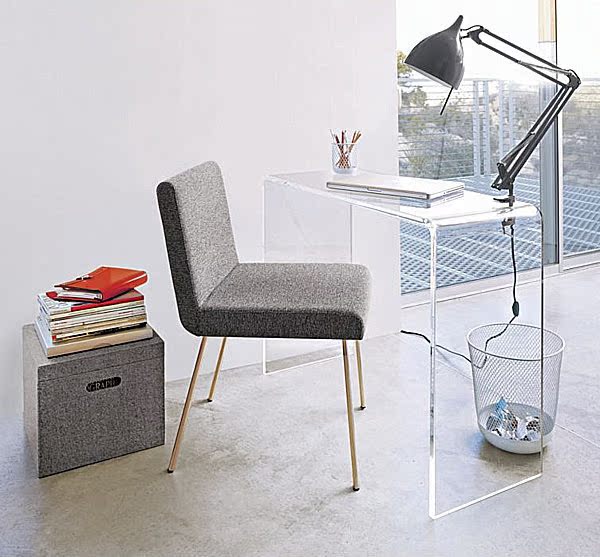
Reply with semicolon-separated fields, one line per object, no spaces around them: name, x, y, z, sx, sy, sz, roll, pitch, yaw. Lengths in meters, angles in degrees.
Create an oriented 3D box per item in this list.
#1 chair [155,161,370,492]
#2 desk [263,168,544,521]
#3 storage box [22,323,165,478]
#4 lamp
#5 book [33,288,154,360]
chair;-0.084;0.078;1.707;0.674;0.738;0.624;0;18;-15
desk;0.277;0.208;1.677;0.390;0.735;0.984;-5;12;-27
storage box;-0.628;0.349;1.693;0.361;0.326;0.263;-8;19;-39
lamp;0.681;-0.589;1.870;0.438;0.567;1.123;5;16;25
book;-0.575;0.128;1.598;0.289;0.136;0.111;-7;16;-19
